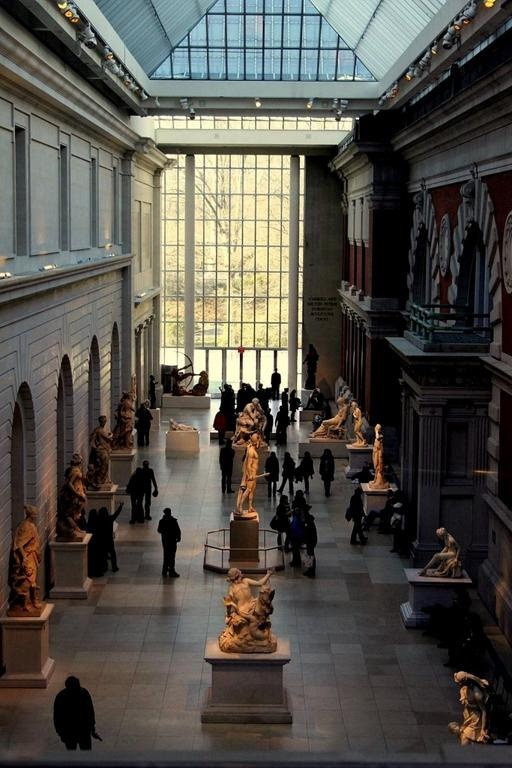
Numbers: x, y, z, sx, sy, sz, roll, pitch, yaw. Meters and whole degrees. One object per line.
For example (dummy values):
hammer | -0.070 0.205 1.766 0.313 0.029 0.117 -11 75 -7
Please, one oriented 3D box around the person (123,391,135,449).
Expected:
person | -5.237 1.511 22.208 0.323 2.202 0.639 -2 7 -21

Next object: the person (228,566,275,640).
person | -0.136 4.056 9.881 1.011 1.368 1.012 3 -10 -21

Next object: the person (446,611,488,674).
person | 4.333 5.315 11.476 0.788 1.152 0.780 18 -27 -22

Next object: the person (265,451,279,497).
person | 0.571 3.503 21.049 0.467 1.744 0.952 1 7 0

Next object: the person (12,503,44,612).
person | -4.538 3.395 10.612 0.533 2.097 0.422 -3 8 -27

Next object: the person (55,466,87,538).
person | -4.784 3.017 13.927 0.712 1.903 0.381 0 7 -8

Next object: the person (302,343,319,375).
person | 3.613 -1.697 35.521 0.867 1.726 1.019 -1 7 -13

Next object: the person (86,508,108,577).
person | -4.413 4.366 14.996 0.504 1.787 0.393 -2 7 -17

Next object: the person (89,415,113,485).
person | -5.217 2.445 17.925 0.683 2.030 0.396 -2 7 -19

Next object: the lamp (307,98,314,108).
lamp | 2.657 -13.515 26.419 0.223 0.154 0.570 12 38 2

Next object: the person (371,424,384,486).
person | 4.333 2.526 19.024 0.394 2.241 0.746 2 7 14

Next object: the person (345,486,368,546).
person | 3.310 4.118 17.793 0.606 1.583 2.022 2 8 11

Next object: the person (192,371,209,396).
person | -3.549 -0.007 34.287 0.823 1.507 1.170 3 7 15

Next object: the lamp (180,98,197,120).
lamp | -3.300 -13.168 26.340 0.645 0.687 1.176 -25 23 0

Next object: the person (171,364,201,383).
person | -5.036 -0.596 35.011 1.549 1.000 1.180 -1 4 18

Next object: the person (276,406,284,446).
person | 1.226 2.198 27.220 0.401 1.708 0.481 -2 7 -20

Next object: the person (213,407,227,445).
person | -1.808 2.187 27.434 0.533 1.643 0.552 0 7 -2

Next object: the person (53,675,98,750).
person | -2.688 5.054 8.087 0.500 1.631 0.471 -3 13 -16

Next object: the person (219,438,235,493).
person | -1.158 3.194 21.402 0.476 2.082 0.986 0 7 -1

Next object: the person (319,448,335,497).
person | 2.776 3.391 21.342 0.493 1.770 1.029 1 7 7

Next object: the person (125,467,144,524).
person | -4.131 3.807 18.564 0.545 1.862 0.412 -1 7 -11

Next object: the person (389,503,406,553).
person | 4.264 4.277 16.267 0.392 1.632 0.582 3 7 19

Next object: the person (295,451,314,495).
person | 1.913 3.410 21.567 0.611 1.683 1.444 1 7 5
